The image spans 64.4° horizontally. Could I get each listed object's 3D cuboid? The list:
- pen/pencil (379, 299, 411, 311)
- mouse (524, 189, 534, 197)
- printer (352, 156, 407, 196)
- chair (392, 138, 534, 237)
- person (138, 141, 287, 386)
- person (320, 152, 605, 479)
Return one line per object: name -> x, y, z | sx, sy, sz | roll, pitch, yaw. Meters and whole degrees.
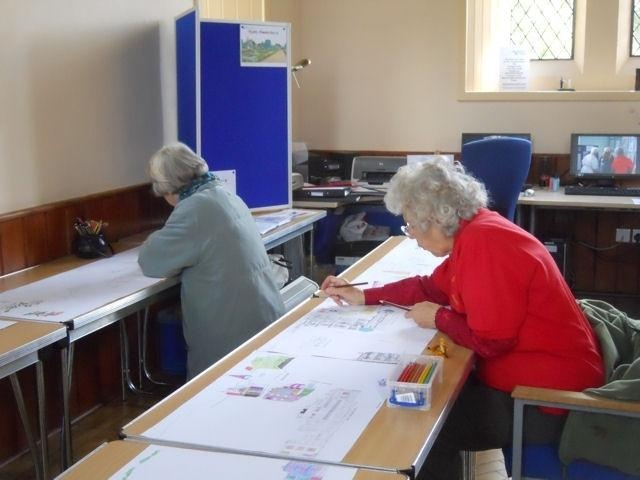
pen/pencil -> 0.309, 0.265, 2.065 | 0.102, 0.024, 0.013 | 17, 5, 16
mouse -> 1.914, -0.425, 4.656 | 0.073, 0.076, 0.089 | -2, -6, 15
printer -> 0.613, -0.633, 5.073 | 0.514, 0.385, 0.400 | 2, 11, 11
chair -> 1.106, -0.452, 4.149 | 0.787, 1.117, 0.836 | 4, 8, 32
person -> -0.596, 0.133, 2.778 | 0.601, 1.368, 0.612 | -8, 40, -14
person -> 0.579, 0.133, 2.313 | 1.142, 1.637, 0.707 | 2, 9, 26
